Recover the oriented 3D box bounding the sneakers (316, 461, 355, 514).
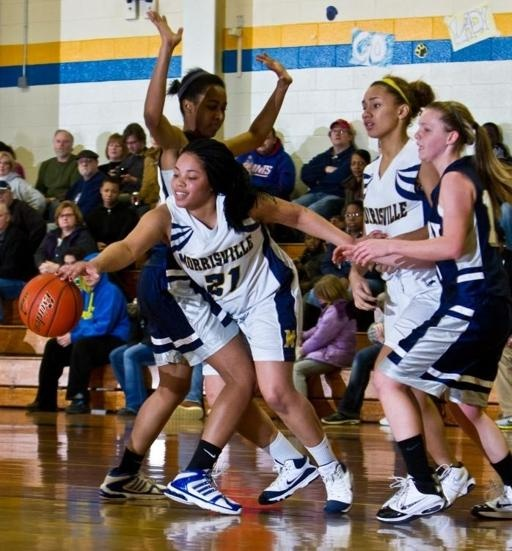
[{"bbox_3d":[0.263,0.696,2.021,0.078,0.096,0.217,-33,11,14],"label":"sneakers"}]

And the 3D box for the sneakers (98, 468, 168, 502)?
[{"bbox_3d":[-0.445,0.764,2.201,0.279,0.093,0.092,2,-3,-13],"label":"sneakers"}]

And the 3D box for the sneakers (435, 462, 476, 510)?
[{"bbox_3d":[0.630,0.699,2.008,0.243,0.091,0.076,-9,-9,-39],"label":"sneakers"}]

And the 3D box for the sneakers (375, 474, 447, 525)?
[{"bbox_3d":[0.463,0.679,1.842,0.245,0.111,0.083,-12,9,-13],"label":"sneakers"}]

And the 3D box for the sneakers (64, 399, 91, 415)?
[{"bbox_3d":[-1.473,1.080,4.937,0.100,0.077,0.208,-1,-13,10],"label":"sneakers"}]

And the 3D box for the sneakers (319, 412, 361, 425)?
[{"bbox_3d":[0.661,1.109,4.649,0.306,0.095,0.096,2,-5,-9],"label":"sneakers"}]
